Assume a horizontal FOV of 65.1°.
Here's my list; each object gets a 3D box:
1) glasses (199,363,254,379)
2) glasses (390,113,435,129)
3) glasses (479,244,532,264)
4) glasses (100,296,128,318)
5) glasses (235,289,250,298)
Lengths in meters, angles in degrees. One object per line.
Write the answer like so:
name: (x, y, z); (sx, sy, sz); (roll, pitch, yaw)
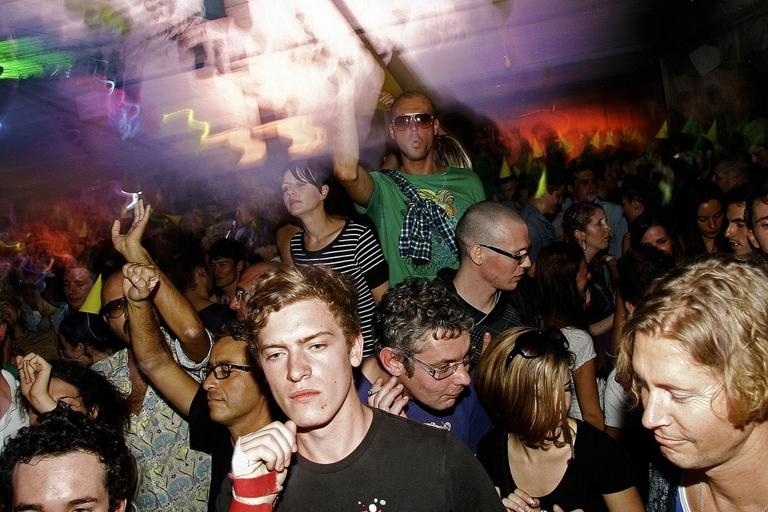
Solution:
glasses: (-1.236, 0.922, 4.773); (0.217, 0.064, 0.218); (-17, -24, 40)
glasses: (0.283, -1.336, 5.948); (0.210, 0.076, 0.216); (-4, -9, 5)
glasses: (1.119, -0.017, 5.418); (0.242, 0.075, 0.237); (18, 0, 3)
glasses: (-2.465, 0.480, 5.438); (0.352, 0.215, 0.099); (-4, 2, 37)
glasses: (-1.200, 0.322, 5.107); (0.102, 0.037, 0.101); (7, -3, -13)
